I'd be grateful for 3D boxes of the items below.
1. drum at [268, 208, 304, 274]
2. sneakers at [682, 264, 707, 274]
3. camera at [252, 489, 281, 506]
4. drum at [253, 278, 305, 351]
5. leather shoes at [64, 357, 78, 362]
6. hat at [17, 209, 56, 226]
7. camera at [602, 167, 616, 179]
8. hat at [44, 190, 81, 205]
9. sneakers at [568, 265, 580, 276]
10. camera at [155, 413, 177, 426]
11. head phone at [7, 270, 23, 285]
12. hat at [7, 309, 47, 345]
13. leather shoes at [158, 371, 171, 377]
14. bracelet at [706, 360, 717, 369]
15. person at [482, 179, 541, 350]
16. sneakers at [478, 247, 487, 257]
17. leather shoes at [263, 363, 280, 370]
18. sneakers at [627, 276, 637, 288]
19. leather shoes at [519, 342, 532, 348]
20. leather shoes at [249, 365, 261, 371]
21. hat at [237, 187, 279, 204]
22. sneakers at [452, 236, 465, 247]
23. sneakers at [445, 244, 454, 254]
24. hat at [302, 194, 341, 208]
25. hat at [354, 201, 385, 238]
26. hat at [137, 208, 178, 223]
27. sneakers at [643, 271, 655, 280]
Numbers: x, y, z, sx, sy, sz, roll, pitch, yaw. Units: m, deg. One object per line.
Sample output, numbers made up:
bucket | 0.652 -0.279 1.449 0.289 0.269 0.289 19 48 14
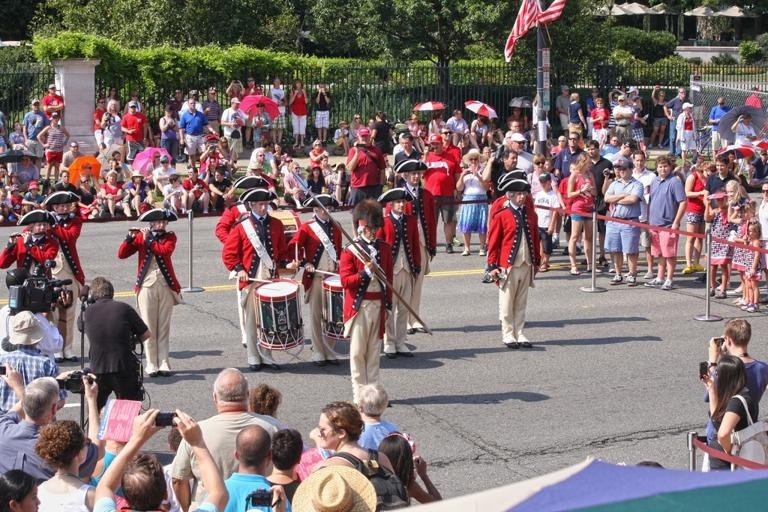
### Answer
drum | -1.679 -0.362 22.753 0.765 1.056 1.123 -1 20 -11
sneakers | 6.237 0.251 25.760 0.497 0.212 0.174 -3 9 -17
camera | -1.412 2.905 15.363 0.360 0.209 0.095 -1 6 0
drum | -1.674 1.017 20.759 0.800 0.803 0.783 -6 9 11
leather shoes | -5.108 1.696 20.968 0.184 0.047 0.077 0 3 35
hat | -5.596 -0.622 20.650 0.588 0.268 0.293 -7 8 -40
camera | 4.548 -1.661 25.671 0.272 0.095 0.194 12 0 -25
hat | -5.294 -0.948 21.002 0.335 0.216 0.727 2 7 26
sneakers | 3.847 0.300 25.821 0.210 0.136 0.530 -1 0 0
camera | -2.637 1.973 15.455 0.249 0.184 0.163 -2 6 -5
head phone | -5.600 0.312 19.320 0.265 0.226 0.197 20 26 35
hat | -5.090 1.061 18.110 0.421 0.251 0.485 -1 46 -6
leather shoes | -3.489 1.882 20.447 0.201 0.085 0.097 -3 6 -16
bracelet | 4.540 1.499 17.679 0.108 0.080 0.138 0 3 -7
person | 2.213 0.293 21.748 0.883 2.515 0.568 -1 6 6
sneakers | 2.080 -0.085 26.791 0.167 0.187 0.485 -1 -5 -2
leather shoes | -1.824 1.808 20.899 0.292 0.112 0.103 -1 0 16
sneakers | 4.842 0.506 24.969 0.217 0.264 0.640 2 0 12
leather shoes | 2.407 1.510 21.715 0.170 0.059 0.099 -3 6 -32
leather shoes | -2.095 1.804 20.793 0.170 0.110 0.094 -2 6 -6
hat | -2.067 -0.993 20.944 0.557 0.233 0.370 -2 6 -6
sneakers | 1.617 -0.316 28.086 0.132 0.160 0.386 -5 9 -22
sneakers | 1.395 -0.147 27.268 0.214 0.222 0.532 -1 1 -4
hat | -1.213 -1.028 24.052 0.534 0.165 0.528 -2 0 23
hat | -0.231 -0.563 19.796 0.432 0.555 0.589 -2 21 -18
hat | -3.730 -0.663 20.844 0.720 0.214 0.488 -6 8 -34
sneakers | 5.252 0.393 25.327 0.120 0.102 0.263 1 3 23
